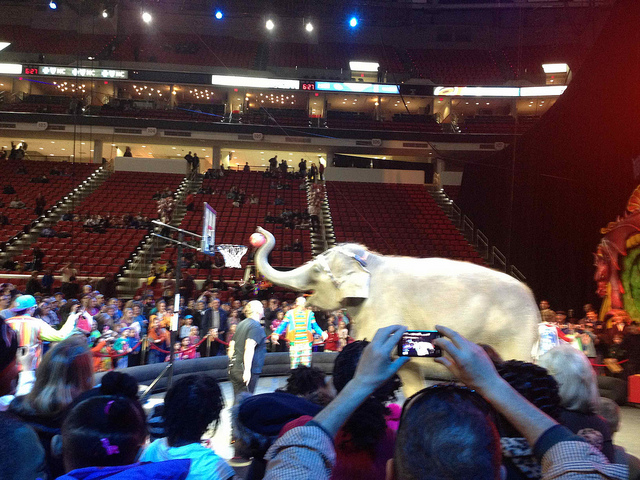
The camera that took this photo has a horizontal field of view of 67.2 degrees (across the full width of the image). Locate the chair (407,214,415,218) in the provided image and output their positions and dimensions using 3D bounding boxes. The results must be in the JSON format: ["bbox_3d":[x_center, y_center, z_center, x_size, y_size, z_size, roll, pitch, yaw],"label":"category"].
[{"bbox_3d":[4.173,-1.087,22.201,0.336,0.251,0.244,2,-17,-2],"label":"chair"}]

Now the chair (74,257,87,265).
[{"bbox_3d":[-8.211,0.737,16.540,0.214,0.275,0.290,0,-4,-6],"label":"chair"}]

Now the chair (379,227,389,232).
[{"bbox_3d":[2.785,-0.445,21.018,0.326,0.182,0.226,-1,1,12],"label":"chair"}]

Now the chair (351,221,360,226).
[{"bbox_3d":[1.577,-0.723,21.465,0.377,0.323,0.304,3,-17,-4],"label":"chair"}]

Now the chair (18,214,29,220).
[{"bbox_3d":[-12.367,-0.949,20.110,0.224,0.170,0.227,3,-6,-2],"label":"chair"}]

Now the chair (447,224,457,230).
[{"bbox_3d":[5.900,-0.570,21.511,0.251,0.192,0.254,1,-5,-11],"label":"chair"}]

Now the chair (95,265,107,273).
[{"bbox_3d":[-7.336,0.979,16.179,0.473,0.258,0.167,-1,-18,7],"label":"chair"}]

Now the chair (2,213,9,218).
[{"bbox_3d":[-13.067,-1.007,20.105,0.193,0.177,0.244,2,-4,1],"label":"chair"}]

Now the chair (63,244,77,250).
[{"bbox_3d":[-9.007,0.262,17.440,0.235,0.150,0.238,1,-8,-4],"label":"chair"}]

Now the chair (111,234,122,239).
[{"bbox_3d":[-7.644,-0.115,18.051,0.451,0.222,0.151,0,-17,4],"label":"chair"}]

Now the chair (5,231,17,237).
[{"bbox_3d":[-11.976,-0.229,18.694,0.237,0.309,0.243,4,-1,-28],"label":"chair"}]

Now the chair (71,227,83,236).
[{"bbox_3d":[-9.354,-0.328,18.532,0.344,0.375,0.375,4,1,-3],"label":"chair"}]

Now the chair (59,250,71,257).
[{"bbox_3d":[-8.966,0.487,16.913,0.207,0.273,0.199,-7,-9,41],"label":"chair"}]

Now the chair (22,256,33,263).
[{"bbox_3d":[-9.969,0.672,16.454,0.267,0.324,0.496,12,-20,-30],"label":"chair"}]

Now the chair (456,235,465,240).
[{"bbox_3d":[5.967,-0.092,20.560,0.175,0.126,0.251,2,-7,2],"label":"chair"}]

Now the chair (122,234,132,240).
[{"bbox_3d":[-7.225,-0.069,18.036,0.217,0.197,0.204,3,-3,-17],"label":"chair"}]

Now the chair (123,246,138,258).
[{"bbox_3d":[-6.812,0.441,17.362,0.373,0.489,0.380,3,-7,-12],"label":"chair"}]

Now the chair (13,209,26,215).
[{"bbox_3d":[-12.739,-1.204,20.506,0.276,0.214,0.282,1,-4,0],"label":"chair"}]

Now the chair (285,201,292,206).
[{"bbox_3d":[-1.434,-1.694,22.469,0.204,0.158,0.206,-3,-9,32],"label":"chair"}]

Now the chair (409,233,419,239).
[{"bbox_3d":[3.998,-0.160,20.498,0.234,0.198,0.365,0,4,18],"label":"chair"}]

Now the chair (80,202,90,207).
[{"bbox_3d":[-10.265,-1.546,21.045,0.256,0.147,0.262,1,-5,-3],"label":"chair"}]

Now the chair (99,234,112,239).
[{"bbox_3d":[-8.045,-0.121,18.043,0.204,0.131,0.201,0,-9,-8],"label":"chair"}]

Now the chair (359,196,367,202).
[{"bbox_3d":[2.132,-2.034,23.778,0.374,0.357,0.304,1,-17,2],"label":"chair"}]

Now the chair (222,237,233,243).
[{"bbox_3d":[-3.642,0.015,18.848,0.332,0.177,0.322,2,12,-5],"label":"chair"}]

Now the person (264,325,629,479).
[{"bbox_3d":[0.415,0.567,1.696,1.186,0.519,0.222,3,-17,-4],"label":"person"}]

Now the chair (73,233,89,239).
[{"bbox_3d":[-8.934,-0.150,18.136,0.262,0.189,0.261,0,-10,12],"label":"chair"}]

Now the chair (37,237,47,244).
[{"bbox_3d":[-10.324,0.011,17.897,0.229,0.329,0.265,1,-12,-4],"label":"chair"}]

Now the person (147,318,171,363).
[{"bbox_3d":[-3.082,2.067,9.264,0.460,1.096,0.327,-5,5,-41],"label":"person"}]

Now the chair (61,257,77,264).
[{"bbox_3d":[-8.573,0.730,16.515,0.469,0.289,0.298,6,-18,-13],"label":"chair"}]

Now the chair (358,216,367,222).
[{"bbox_3d":[1.936,-0.928,21.890,0.399,0.372,0.303,1,-17,3],"label":"chair"}]

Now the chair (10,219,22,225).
[{"bbox_3d":[-12.334,-0.715,19.579,0.249,0.260,0.248,6,-1,-20],"label":"chair"}]

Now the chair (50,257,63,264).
[{"bbox_3d":[-9.008,0.703,16.498,0.231,0.168,0.227,0,0,-4],"label":"chair"}]

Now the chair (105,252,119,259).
[{"bbox_3d":[-7.249,0.564,16.783,0.397,0.309,0.343,7,-18,-16],"label":"chair"}]

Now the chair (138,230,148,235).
[{"bbox_3d":[-6.710,-0.288,18.274,0.237,0.169,0.174,2,-6,-14],"label":"chair"}]

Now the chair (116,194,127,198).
[{"bbox_3d":[-9.064,-1.995,22.008,0.445,0.263,0.259,0,-18,3],"label":"chair"}]

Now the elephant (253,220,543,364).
[{"bbox_3d":[0.653,0.690,4.632,2.765,1.591,0.904,6,30,14],"label":"elephant"}]

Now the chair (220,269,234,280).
[{"bbox_3d":[-3.051,1.148,15.875,0.349,0.421,0.314,11,-1,-15],"label":"chair"}]

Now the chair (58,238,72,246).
[{"bbox_3d":[-9.390,0.080,17.742,0.274,0.386,0.307,3,-6,-10],"label":"chair"}]

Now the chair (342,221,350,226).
[{"bbox_3d":[1.156,-0.717,21.348,0.318,0.307,0.267,3,-17,-4],"label":"chair"}]

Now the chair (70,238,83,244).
[{"bbox_3d":[-8.968,0.048,17.787,0.222,0.239,0.234,3,-8,-8],"label":"chair"}]

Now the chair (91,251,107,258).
[{"bbox_3d":[-7.696,0.506,16.914,0.466,0.244,0.137,-1,-18,8],"label":"chair"}]

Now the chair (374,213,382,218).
[{"bbox_3d":[2.673,-1.116,22.151,0.359,0.326,0.309,2,-17,-1],"label":"chair"}]

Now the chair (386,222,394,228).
[{"bbox_3d":[3.110,-0.643,21.273,0.302,0.214,0.166,0,-3,-1],"label":"chair"}]

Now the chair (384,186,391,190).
[{"bbox_3d":[3.498,-2.671,24.914,0.317,0.178,0.210,0,10,5],"label":"chair"}]

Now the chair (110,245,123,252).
[{"bbox_3d":[-7.297,0.318,17.336,0.253,0.162,0.251,4,-11,-22],"label":"chair"}]
